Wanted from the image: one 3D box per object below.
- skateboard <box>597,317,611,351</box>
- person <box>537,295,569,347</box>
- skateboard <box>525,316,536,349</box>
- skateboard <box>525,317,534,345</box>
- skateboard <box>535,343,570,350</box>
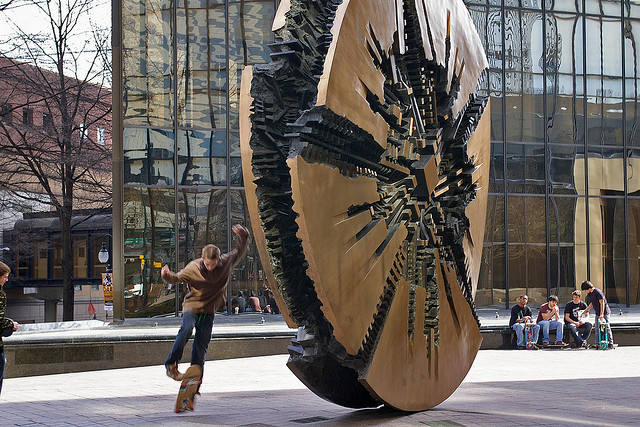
[{"bbox_3d":[9.139,3.838,28.496,0.411,1.016,0.435,-2,-5,-2],"label":"skateboard"},{"bbox_3d":[7.581,3.542,28.994,0.963,1.624,0.642,3,-7,-43],"label":"person"},{"bbox_3d":[6.768,3.836,28.677,0.342,1.031,0.266,-3,-5,11],"label":"skateboard"},{"bbox_3d":[6.748,3.774,28.629,0.169,0.641,0.347,3,1,18],"label":"skateboard"},{"bbox_3d":[7.570,4.262,28.839,0.930,0.134,0.322,0,11,-1],"label":"skateboard"}]
